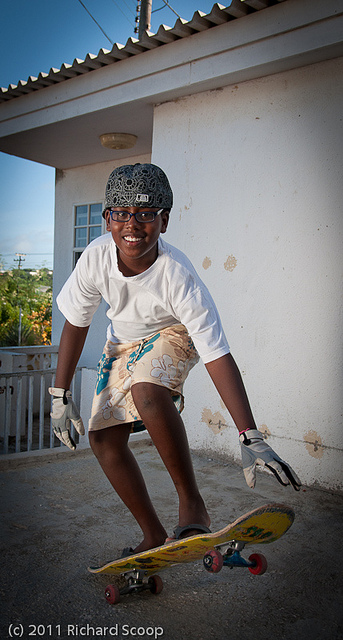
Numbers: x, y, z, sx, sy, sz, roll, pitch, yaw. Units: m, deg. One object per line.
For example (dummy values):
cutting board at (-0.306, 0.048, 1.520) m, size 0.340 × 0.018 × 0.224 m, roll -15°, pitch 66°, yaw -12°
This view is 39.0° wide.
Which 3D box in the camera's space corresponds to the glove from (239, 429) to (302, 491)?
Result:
glove at (0.312, 0.460, 1.613) m, size 0.159 × 0.178 × 0.266 m, roll 3°, pitch -3°, yaw -7°

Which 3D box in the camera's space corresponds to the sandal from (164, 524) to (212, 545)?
sandal at (0.061, 0.759, 1.695) m, size 0.182 × 0.061 × 0.067 m, roll -18°, pitch -32°, yaw 30°

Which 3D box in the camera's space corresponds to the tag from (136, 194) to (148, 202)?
tag at (-0.113, -0.464, 1.832) m, size 0.029 × 0.031 × 0.008 m, roll 1°, pitch 0°, yaw -3°

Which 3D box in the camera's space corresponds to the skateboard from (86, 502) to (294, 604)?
skateboard at (0.069, 0.966, 1.969) m, size 0.820 × 0.171 × 0.268 m, roll -29°, pitch -32°, yaw 28°

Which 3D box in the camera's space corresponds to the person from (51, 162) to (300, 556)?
person at (-0.067, 0.153, 1.937) m, size 0.412 × 1.560 × 1.115 m, roll 5°, pitch -4°, yaw -41°

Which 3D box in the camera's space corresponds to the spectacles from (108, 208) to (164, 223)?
spectacles at (-0.138, -0.407, 1.874) m, size 0.198 × 0.076 × 0.069 m, roll 3°, pitch -3°, yaw -4°
